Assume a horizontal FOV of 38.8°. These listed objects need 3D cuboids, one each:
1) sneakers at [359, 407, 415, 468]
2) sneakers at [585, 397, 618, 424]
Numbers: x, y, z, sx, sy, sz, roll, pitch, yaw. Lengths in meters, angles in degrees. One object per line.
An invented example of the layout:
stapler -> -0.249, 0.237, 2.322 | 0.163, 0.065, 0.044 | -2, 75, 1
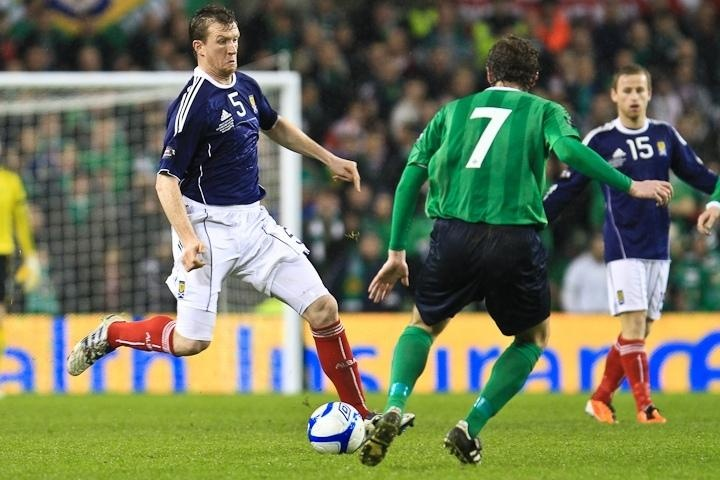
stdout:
sneakers -> 0.167, 1.522, 7.912 | 0.595, 0.222, 0.277 | -44, -2, 0
sneakers -> 2.348, 1.682, 9.961 | 0.359, 0.160, 0.131 | 25, 13, 41
